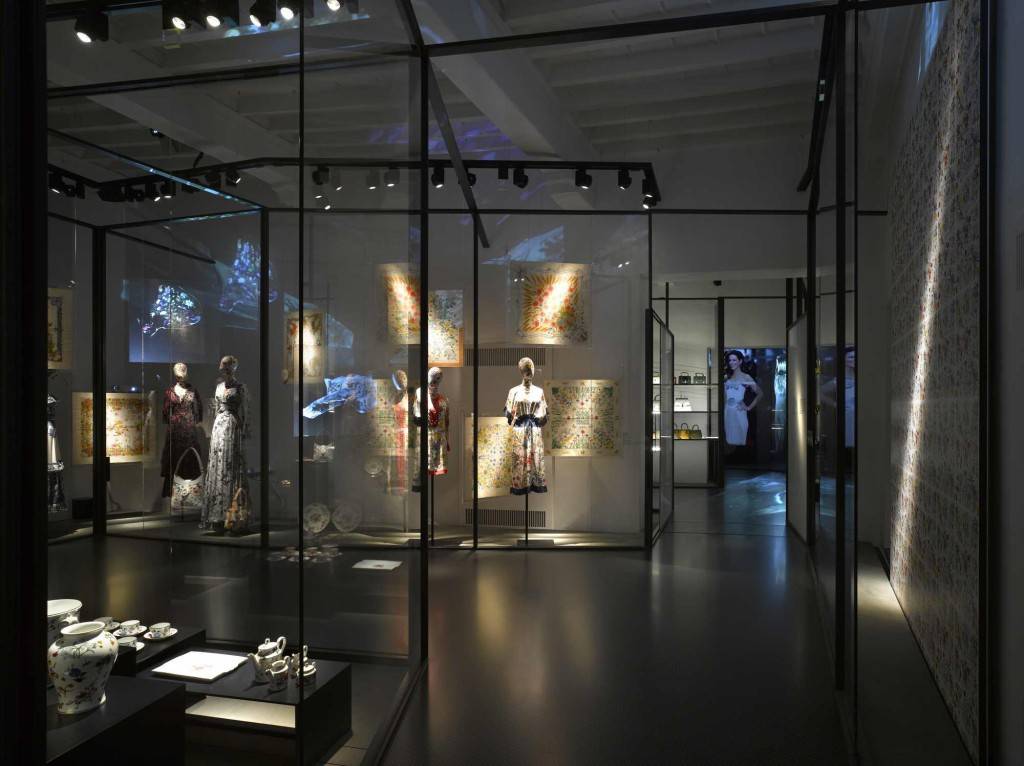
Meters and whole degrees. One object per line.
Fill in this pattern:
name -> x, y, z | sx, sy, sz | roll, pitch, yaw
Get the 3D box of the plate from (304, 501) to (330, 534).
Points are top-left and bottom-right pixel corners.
plate -> -0.707, 0.494, 2.917 | 0.006, 0.115, 0.153 | 0, 2, 23

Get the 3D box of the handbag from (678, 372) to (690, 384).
handbag -> 2.688, -0.053, 12.520 | 0.172, 0.187, 0.143 | 0, -8, 4

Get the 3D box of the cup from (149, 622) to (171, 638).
cup -> -1.533, 1.078, 3.484 | 0.094, 0.074, 0.075 | -3, 7, -30

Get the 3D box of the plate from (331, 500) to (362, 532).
plate -> -0.642, 0.519, 3.089 | 0.023, 0.109, 0.099 | -5, -15, 37

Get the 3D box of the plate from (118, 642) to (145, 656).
plate -> -1.651, 1.140, 3.456 | 0.052, 0.018, 0.070 | 3, -2, 13

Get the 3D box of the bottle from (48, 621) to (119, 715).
bottle -> -1.653, 1.121, 3.140 | 0.232, 0.313, 0.305 | 1, -12, -4

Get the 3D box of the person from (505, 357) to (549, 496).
person -> 0.145, 0.416, 7.708 | 0.406, 1.290, 0.206 | -1, 2, 1

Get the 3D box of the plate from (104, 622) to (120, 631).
plate -> -1.741, 1.061, 3.486 | 0.040, 0.014, 0.041 | 4, -1, -34

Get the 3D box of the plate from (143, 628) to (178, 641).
plate -> -1.539, 1.105, 3.495 | 0.106, 0.027, 0.090 | 1, -2, 4

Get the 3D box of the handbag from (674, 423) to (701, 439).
handbag -> 2.623, 0.735, 12.008 | 0.312, 0.243, 0.204 | -1, 1, 7
